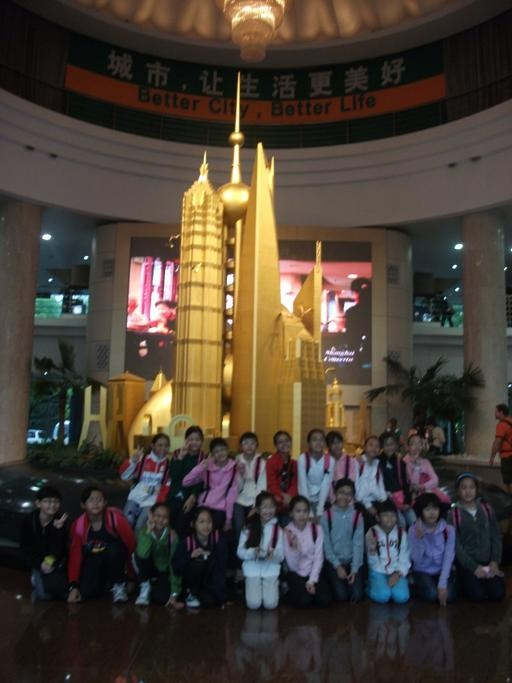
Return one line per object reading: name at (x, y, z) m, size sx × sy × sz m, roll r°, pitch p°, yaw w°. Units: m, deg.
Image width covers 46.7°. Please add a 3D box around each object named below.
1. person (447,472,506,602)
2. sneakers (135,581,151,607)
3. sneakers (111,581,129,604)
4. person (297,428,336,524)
person at (1.452, 1.259, 3.909) m, size 0.339 × 0.752 × 0.464 m, roll 1°, pitch -5°, yaw 19°
sneakers at (-0.676, 1.494, 3.561) m, size 0.088 × 0.121 × 0.141 m, roll 4°, pitch -5°, yaw -10°
sneakers at (-0.826, 1.524, 3.610) m, size 0.075 × 0.049 × 0.121 m, roll -1°, pitch -2°, yaw 9°
person at (0.434, 1.126, 4.432) m, size 0.257 × 0.907 × 0.296 m, roll 5°, pitch -5°, yaw -3°
